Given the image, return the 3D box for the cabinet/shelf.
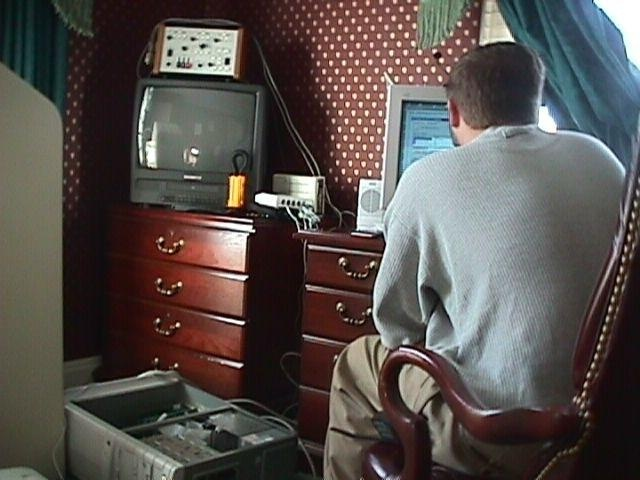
[{"bbox_3d":[-0.455,0.191,2.828,1.170,1.355,0.803,7,6,36],"label":"cabinet/shelf"}]
